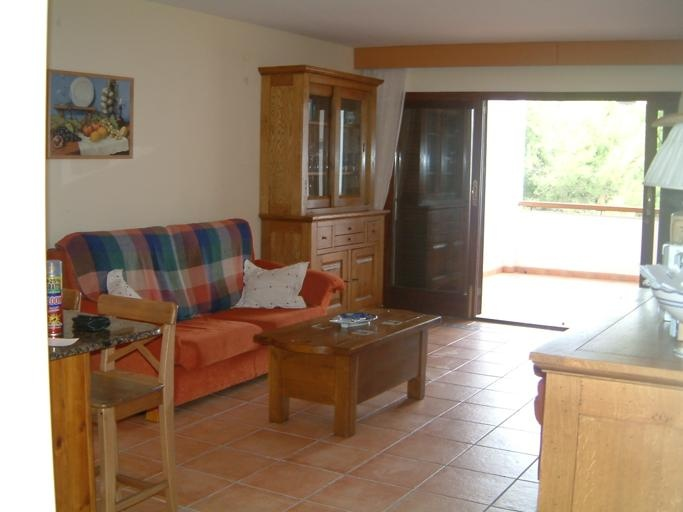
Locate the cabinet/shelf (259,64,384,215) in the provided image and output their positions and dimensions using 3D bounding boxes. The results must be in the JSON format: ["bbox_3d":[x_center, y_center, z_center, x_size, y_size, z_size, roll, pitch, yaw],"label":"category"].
[{"bbox_3d":[-0.242,-1.153,5.624,0.624,1.531,1.722,6,9,33],"label":"cabinet/shelf"}]

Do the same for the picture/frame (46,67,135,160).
[{"bbox_3d":[-1.835,-1.017,4.096,0.081,0.627,0.685,6,10,32],"label":"picture/frame"}]

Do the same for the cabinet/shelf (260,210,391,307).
[{"bbox_3d":[-0.192,0.005,5.462,0.442,0.854,1.116,3,6,33],"label":"cabinet/shelf"}]

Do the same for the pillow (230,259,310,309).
[{"bbox_3d":[-0.605,0.250,4.647,0.435,0.288,0.151,-1,-14,10],"label":"pillow"}]

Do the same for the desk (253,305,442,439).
[{"bbox_3d":[0.004,0.464,3.622,0.720,0.518,1.231,3,7,33],"label":"desk"}]
